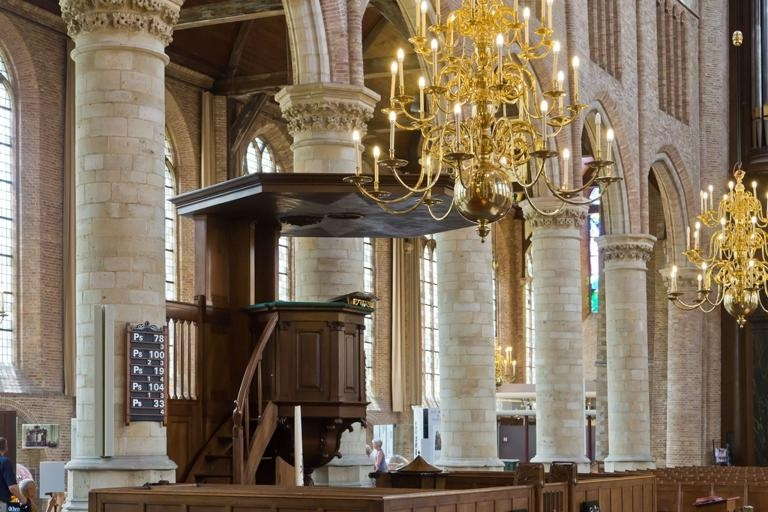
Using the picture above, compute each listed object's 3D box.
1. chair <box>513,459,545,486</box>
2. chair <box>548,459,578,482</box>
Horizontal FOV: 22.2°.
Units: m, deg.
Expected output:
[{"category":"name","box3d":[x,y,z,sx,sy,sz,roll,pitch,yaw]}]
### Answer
[{"category":"chair","box3d":[2.736,4.076,36.486,0.596,0.362,0.557,-1,-9,16]},{"category":"chair","box3d":[3.425,4.133,37.313,0.435,0.324,0.425,-6,-11,36]}]
